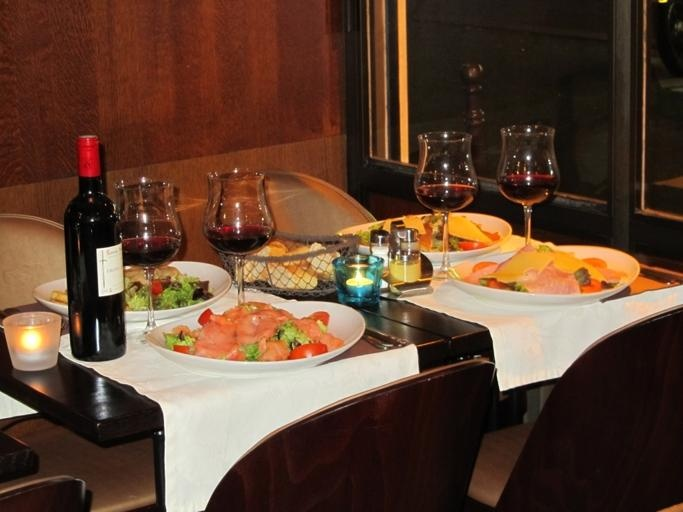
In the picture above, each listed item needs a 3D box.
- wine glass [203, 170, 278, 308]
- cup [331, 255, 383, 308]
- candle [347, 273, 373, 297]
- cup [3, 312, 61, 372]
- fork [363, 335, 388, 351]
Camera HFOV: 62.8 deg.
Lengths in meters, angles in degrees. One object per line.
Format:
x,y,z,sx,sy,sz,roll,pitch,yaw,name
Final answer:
-0.220,-0.035,1.175,0.135,0.282,0.248,-4,14,-14,wine glass
0.037,0.052,1.242,0.100,0.091,0.103,0,2,0,cup
0.039,0.063,1.191,0.045,0.043,0.047,7,12,32,candle
-0.514,0.135,0.926,0.080,0.076,0.093,1,1,-2,cup
0.059,0.153,0.984,0.013,0.005,0.084,-9,10,-13,fork
